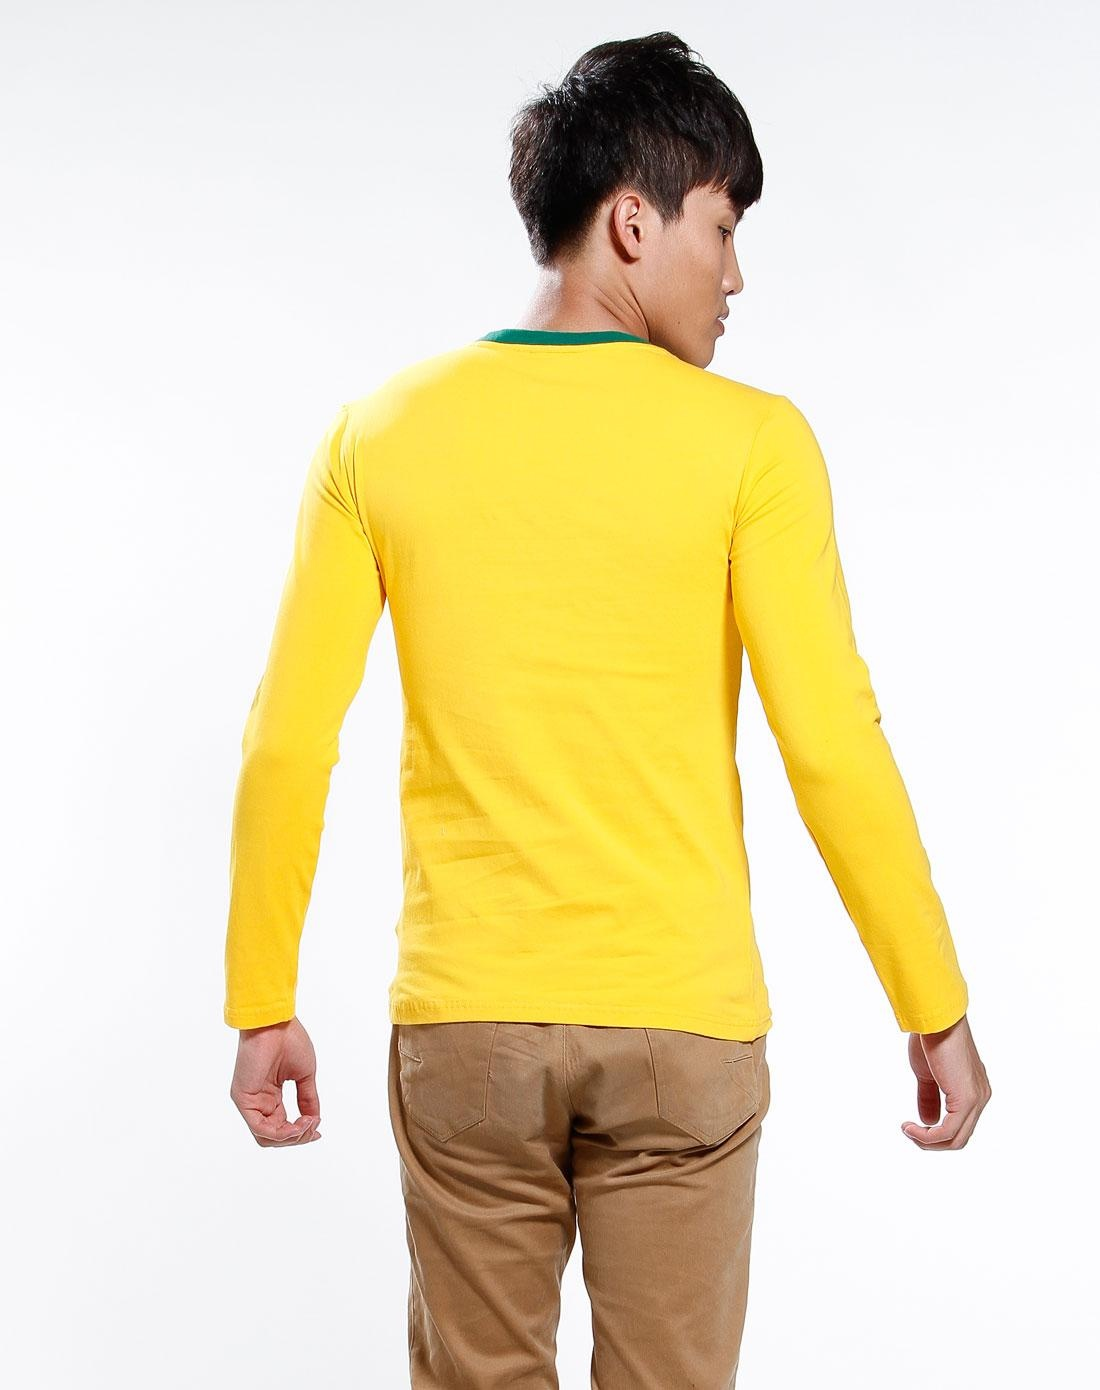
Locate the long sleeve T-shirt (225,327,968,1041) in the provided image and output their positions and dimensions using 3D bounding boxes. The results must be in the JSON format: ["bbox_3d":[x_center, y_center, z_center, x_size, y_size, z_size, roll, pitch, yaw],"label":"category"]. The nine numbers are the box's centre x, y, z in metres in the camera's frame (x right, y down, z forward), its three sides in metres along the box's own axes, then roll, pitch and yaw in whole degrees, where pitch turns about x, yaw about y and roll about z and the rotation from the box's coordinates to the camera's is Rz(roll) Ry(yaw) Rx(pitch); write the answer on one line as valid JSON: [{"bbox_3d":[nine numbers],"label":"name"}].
[{"bbox_3d":[0.054,0.004,1.672,0.762,0.695,0.242,1,4,18],"label":"long sleeve T-shirt"}]
